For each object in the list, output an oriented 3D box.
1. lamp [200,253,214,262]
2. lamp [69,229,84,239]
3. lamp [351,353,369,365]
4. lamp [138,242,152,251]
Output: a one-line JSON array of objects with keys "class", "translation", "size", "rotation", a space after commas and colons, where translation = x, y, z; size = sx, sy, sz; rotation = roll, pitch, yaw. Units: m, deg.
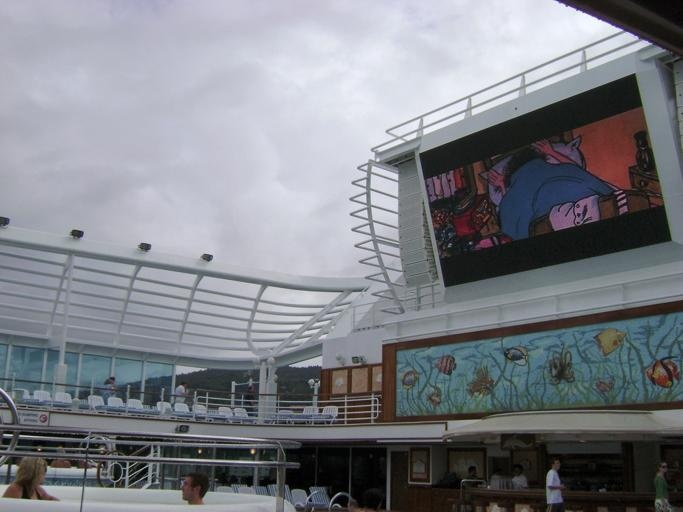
[{"class": "lamp", "translation": [-5.753, 0.034, 30.914], "size": [0.450, 0.362, 0.588], "rotation": [3, -18, -11]}, {"class": "lamp", "translation": [-10.246, -0.878, 28.009], "size": [0.491, 0.275, 0.381], "rotation": [-9, -12, 34]}, {"class": "lamp", "translation": [0.693, 4.316, 29.893], "size": [0.248, 0.437, 0.783], "rotation": [17, -25, -40]}, {"class": "lamp", "translation": [-7.915, -0.377, 29.325], "size": [0.432, 0.235, 0.416], "rotation": [1, -2, 33]}]
